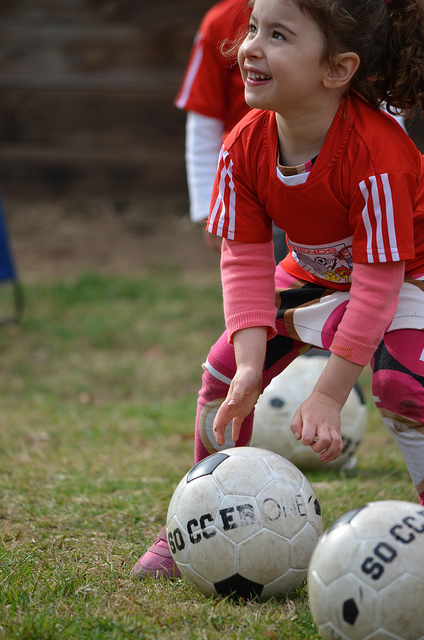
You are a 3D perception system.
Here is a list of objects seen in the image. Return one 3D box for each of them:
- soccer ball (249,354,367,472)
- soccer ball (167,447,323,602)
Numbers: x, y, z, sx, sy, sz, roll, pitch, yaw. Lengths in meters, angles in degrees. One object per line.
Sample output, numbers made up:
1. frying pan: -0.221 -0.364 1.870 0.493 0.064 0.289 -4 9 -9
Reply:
1. soccer ball: 0.426 0.409 2.790 0.340 0.443 0.459 17 30 33
2. soccer ball: 0.082 0.477 1.514 0.325 0.309 0.321 1 8 0
